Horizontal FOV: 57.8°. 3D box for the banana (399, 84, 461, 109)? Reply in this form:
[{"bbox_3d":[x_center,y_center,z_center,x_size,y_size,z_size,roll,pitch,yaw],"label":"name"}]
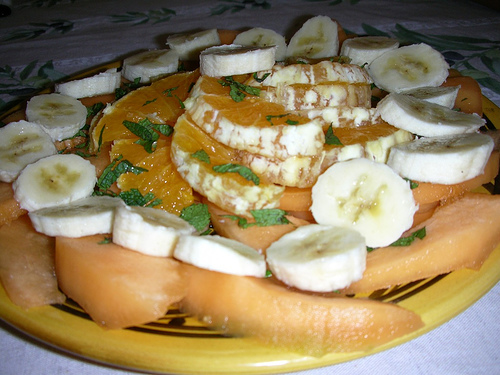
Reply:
[{"bbox_3d":[1.097,-0.555,2.717,0.266,0.056,0.217,4,31,18],"label":"banana"}]
